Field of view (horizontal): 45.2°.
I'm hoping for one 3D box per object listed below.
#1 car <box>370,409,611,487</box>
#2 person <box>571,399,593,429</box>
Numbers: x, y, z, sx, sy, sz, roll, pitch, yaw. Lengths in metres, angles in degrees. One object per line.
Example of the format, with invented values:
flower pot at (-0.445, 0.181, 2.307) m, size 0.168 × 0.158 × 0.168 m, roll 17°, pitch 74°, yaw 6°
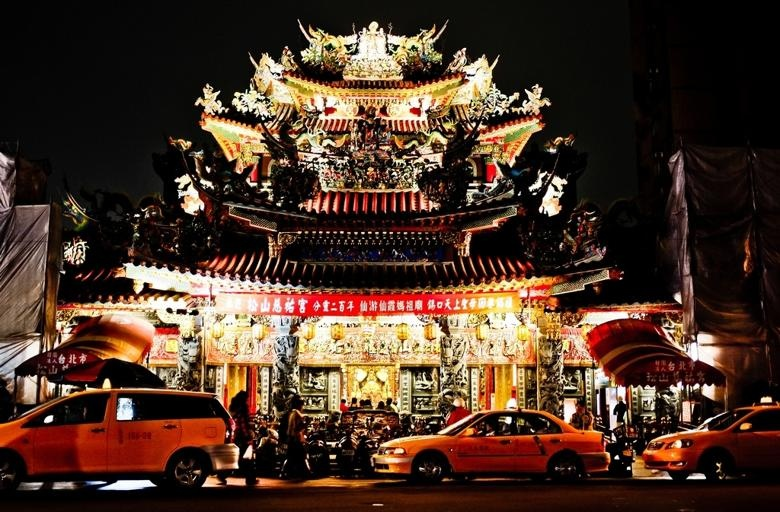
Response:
car at (3.309, 5.974, 29.844) m, size 6.576 × 2.081 × 2.801 m, roll 2°, pitch -19°, yaw -1°
person at (6.928, 5.683, 33.624) m, size 1.052 × 1.260 × 0.733 m, roll 0°, pitch -13°, yaw 0°
